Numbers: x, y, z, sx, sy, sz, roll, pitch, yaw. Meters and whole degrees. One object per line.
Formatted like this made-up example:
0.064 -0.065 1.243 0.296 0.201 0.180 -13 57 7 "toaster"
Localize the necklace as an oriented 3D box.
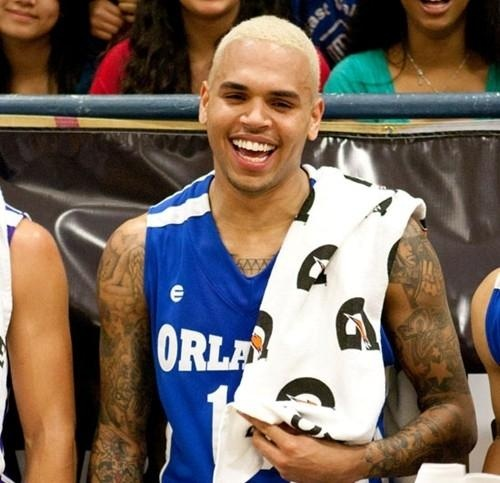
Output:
0.888 -0.792 4.093 0.326 0.357 0.087 1 6 3 "necklace"
